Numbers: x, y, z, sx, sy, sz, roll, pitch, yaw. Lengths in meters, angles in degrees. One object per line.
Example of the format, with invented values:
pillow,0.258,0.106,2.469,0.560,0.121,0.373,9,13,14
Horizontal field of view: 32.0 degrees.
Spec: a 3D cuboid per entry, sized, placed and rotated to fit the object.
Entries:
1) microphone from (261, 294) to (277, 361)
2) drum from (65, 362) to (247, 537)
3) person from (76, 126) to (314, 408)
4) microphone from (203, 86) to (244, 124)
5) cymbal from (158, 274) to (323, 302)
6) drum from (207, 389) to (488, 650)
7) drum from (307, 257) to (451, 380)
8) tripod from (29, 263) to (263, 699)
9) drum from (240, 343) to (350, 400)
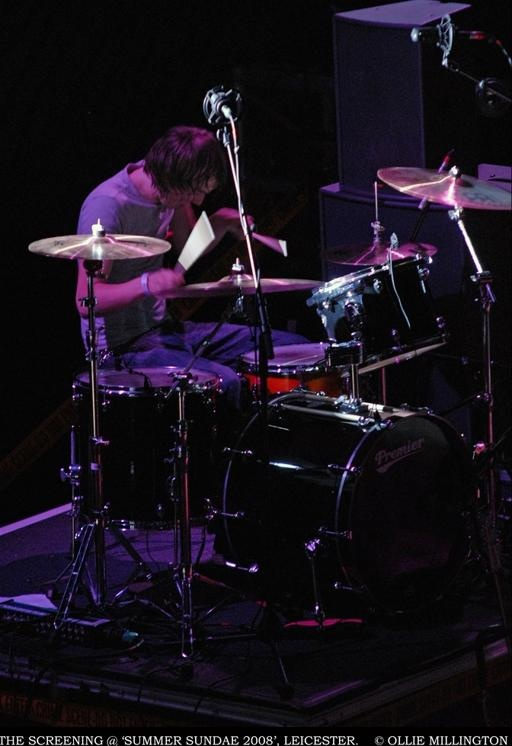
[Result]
microphone,0.031,-0.120,2.341,0.033,0.170,0.027,-4,-10,-33
drum,-0.445,0.288,2.981,0.460,0.417,0.478,-8,-9,44
person,-0.240,-0.428,3.319,0.962,0.917,0.728,6,28,9
microphone,-0.093,-0.714,2.403,0.090,0.111,0.180,-4,10,-4
cymbal,-0.077,-0.260,2.719,0.228,0.045,0.213,-10,10,-20
drum,0.310,0.385,2.878,0.816,0.690,0.664,-4,6,-41
drum,0.458,-0.209,3.015,0.419,0.272,0.408,-17,0,0
tripod,-0.444,0.214,2.607,0.647,1.099,0.877,-11,13,-34
drum,0.156,0.015,2.953,0.263,0.196,0.241,-3,16,1
